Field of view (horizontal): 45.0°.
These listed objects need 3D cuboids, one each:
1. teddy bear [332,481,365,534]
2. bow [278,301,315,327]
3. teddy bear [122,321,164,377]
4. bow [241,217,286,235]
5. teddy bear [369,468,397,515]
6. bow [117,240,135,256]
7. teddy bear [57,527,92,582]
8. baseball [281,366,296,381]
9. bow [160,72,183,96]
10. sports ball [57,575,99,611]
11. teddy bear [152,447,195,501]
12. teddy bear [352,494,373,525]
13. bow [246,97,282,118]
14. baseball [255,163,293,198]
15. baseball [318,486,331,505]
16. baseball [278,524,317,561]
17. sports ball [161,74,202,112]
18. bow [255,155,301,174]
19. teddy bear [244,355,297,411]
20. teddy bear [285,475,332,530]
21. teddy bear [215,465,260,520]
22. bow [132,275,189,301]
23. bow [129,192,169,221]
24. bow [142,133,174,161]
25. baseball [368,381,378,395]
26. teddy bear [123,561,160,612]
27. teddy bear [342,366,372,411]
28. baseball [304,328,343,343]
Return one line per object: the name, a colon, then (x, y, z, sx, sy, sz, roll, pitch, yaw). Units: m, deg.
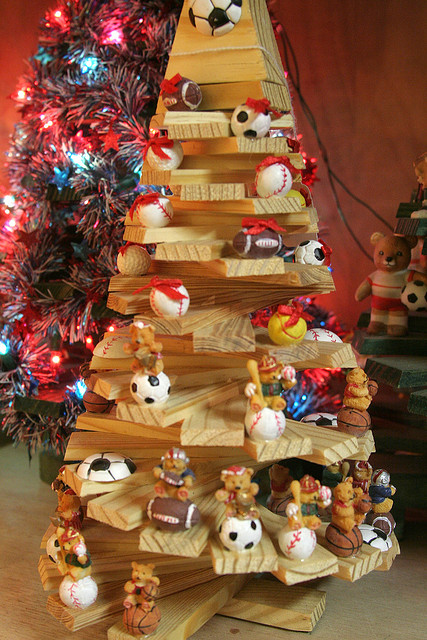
teddy bear: (0.284, 0.391, 1.094, 0.070, 0.098, 0.081, 14, 22, 41)
bow: (0.202, -0.013, 1.260, 0.096, 0.037, 0.088, 2, 23, -19)
teddy bear: (-0.136, 0.052, 0.993, 0.067, 0.102, 0.111, -2, 7, -9)
bow: (0.102, -0.187, 0.993, 0.059, 0.013, 0.054, -3, 20, -11)
teddy bear: (0.417, 0.426, 1.281, 0.073, 0.103, 0.055, 5, -8, -4)
bow: (-0.200, -0.163, 1.185, 0.029, 0.009, 0.045, 5, 30, 24)
teddy bear: (-0.289, 0.484, 1.073, 0.078, 0.098, 0.062, -10, -11, 39)
baseball: (0.138, 0.101, 0.970, 0.025, 0.027, 0.025, 3, 1, -41)
bow: (-0.085, -0.481, 1.061, 0.046, 0.041, 0.014, -11, -23, 19)
sports ball: (-0.272, 0.558, 1.079, 0.085, 0.075, 0.080, 2, -22, 1)
teddy bear: (-0.075, 0.298, 1.000, 0.077, 0.093, 0.063, -1, 7, -3)
teddy bear: (0.343, 0.422, 1.163, 0.058, 0.068, 0.034, -1, -17, 35)
bow: (0.106, -0.423, 1.018, 0.053, 0.047, 0.021, 14, 41, -10)
baseball: (0.121, -0.273, 1.018, 0.074, 0.066, 0.068, 9, 9, 19)
baseball: (0.214, 0.337, 0.989, 0.026, 0.035, 0.023, -1, 7, 1)
baseball: (0.161, 0.430, 0.989, 0.077, 0.068, 0.070, 3, 6, 5)
sports ball: (-0.064, -0.465, 1.065, 0.085, 0.085, 0.080, -3, 30, 1)
bow: (0.141, -0.317, 1.061, 0.060, 0.019, 0.063, -1, 3, -31)
teddy bear: (0.100, 0.115, 0.957, 0.096, 0.095, 0.067, 0, 4, 1)
teddy bear: (0.177, 0.352, 1.032, 0.085, 0.112, 0.069, -6, 18, -34)
teddy bear: (0.044, 0.326, 0.971, 0.082, 0.103, 0.053, -2, 7, -8)
bow: (-0.104, -0.064, 1.038, 0.117, 0.047, 0.051, 5, 9, 43)
bow: (-0.138, -0.247, 1.108, 0.052, 0.024, 0.051, -36, 17, 39)
bow: (-0.113, -0.360, 1.096, 0.062, 0.057, 0.024, 2, 8, 27)
baseball: (0.389, 0.169, 1.247, 0.018, 0.029, 0.024, 0, -8, 0)
teddy bear: (-0.149, 0.520, 1.048, 0.085, 0.092, 0.066, -3, 13, -20)
teddy bear: (0.330, 0.159, 1.193, 0.069, 0.098, 0.074, -1, 5, 22)
baseball: (0.259, 0.041, 1.226, 0.083, 0.029, 0.105, 0, 6, 10)
